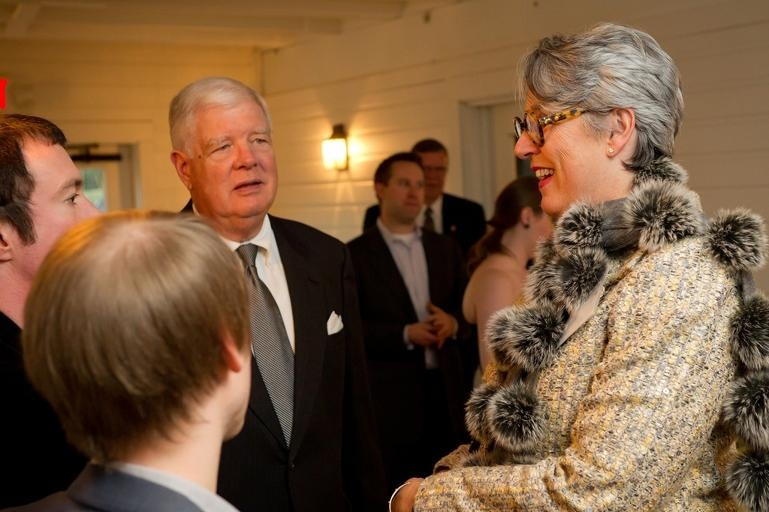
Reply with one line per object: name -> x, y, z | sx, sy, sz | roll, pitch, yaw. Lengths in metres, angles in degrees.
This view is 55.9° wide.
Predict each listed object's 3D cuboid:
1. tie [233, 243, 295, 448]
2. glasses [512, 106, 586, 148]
tie -> -0.417, 0.251, 2.557 | 0.137, 0.829, 0.088 | -3, -28, -18
glasses -> 0.440, -0.372, 2.040 | 0.127, 0.041, 0.122 | -11, 3, -20
